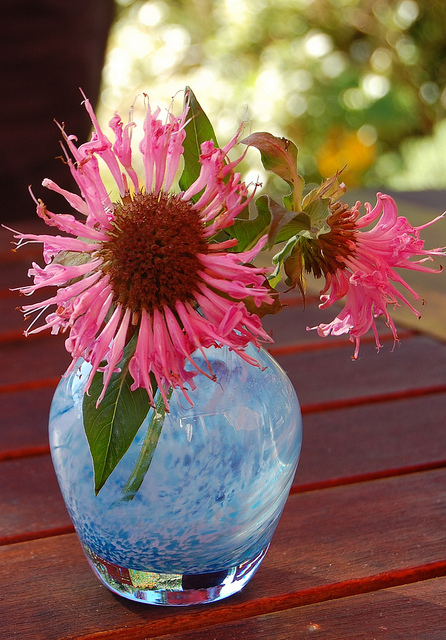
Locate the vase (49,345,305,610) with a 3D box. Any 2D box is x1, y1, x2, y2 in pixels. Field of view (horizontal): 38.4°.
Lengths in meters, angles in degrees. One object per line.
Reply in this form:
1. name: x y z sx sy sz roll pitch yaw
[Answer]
1. vase: -0.031 0.109 0.454 0.168 0.151 0.150 -1 82 -25
